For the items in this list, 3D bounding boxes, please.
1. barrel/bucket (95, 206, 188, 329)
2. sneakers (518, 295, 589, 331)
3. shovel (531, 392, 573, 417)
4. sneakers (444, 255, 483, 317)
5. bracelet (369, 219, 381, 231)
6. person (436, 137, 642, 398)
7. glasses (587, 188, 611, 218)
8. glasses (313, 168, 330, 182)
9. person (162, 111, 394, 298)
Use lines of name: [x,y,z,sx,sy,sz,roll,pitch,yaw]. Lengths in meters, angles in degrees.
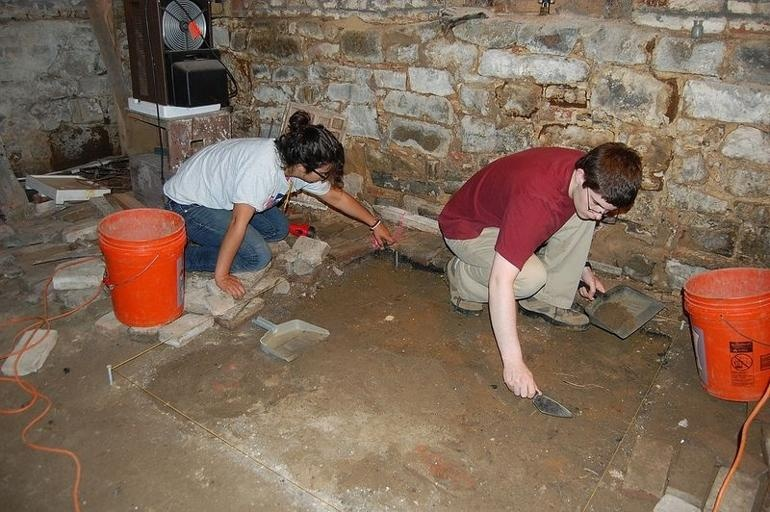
barrel/bucket: [-1.696,0.088,3.756,0.554,0.629,0.588,5,33,-3]
sneakers: [1.270,0.389,4.106,0.567,0.248,0.195,11,35,22]
shovel: [1.056,0.955,3.402,0.257,0.037,0.135,25,47,27]
sneakers: [0.608,0.229,4.046,0.210,0.372,0.286,1,49,-26]
bracelet: [-0.077,-0.269,4.394,0.028,0.070,0.079,49,44,-4]
person: [1.125,-0.102,3.610,1.164,1.428,1.339,0,24,-12]
glasses: [1.287,-0.319,3.221,0.161,0.049,0.159,49,13,33]
glasses: [-0.436,-0.578,3.722,0.065,0.097,0.140,16,26,23]
person: [-0.901,-0.430,4.022,1.572,1.367,0.736,1,24,-11]
